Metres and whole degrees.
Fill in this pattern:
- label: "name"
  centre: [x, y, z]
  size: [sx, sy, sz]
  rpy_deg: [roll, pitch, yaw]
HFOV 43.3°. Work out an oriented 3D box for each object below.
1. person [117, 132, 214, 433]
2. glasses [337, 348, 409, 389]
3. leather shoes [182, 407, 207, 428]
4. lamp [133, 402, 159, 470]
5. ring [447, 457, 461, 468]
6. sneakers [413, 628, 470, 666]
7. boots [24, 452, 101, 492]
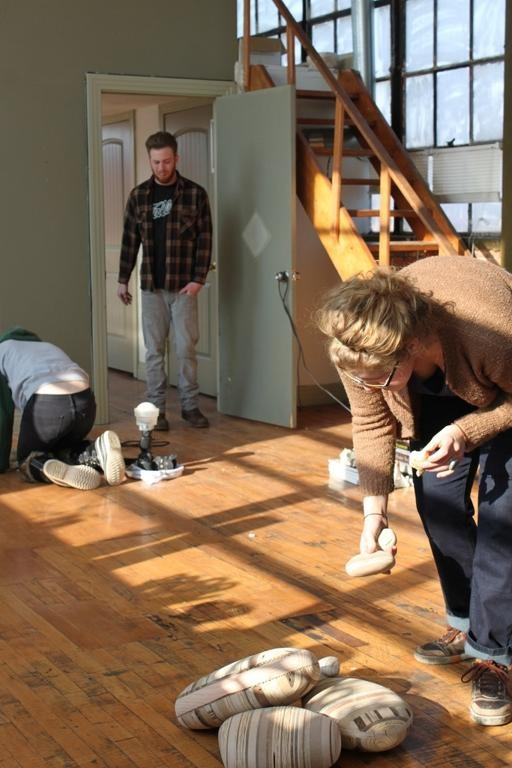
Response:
- label: "person"
  centre: [-0.743, -0.808, 5.367]
  size: [0.524, 2.315, 0.667]
  rpy_deg: [-4, 6, -41]
- label: "glasses"
  centre: [0.228, -0.017, 1.208]
  size: [0.081, 0.024, 0.080]
  rpy_deg: [4, 48, 25]
- label: "leather shoes"
  centre: [-0.502, 0.274, 5.403]
  size: [0.109, 0.106, 0.254]
  rpy_deg: [-7, 9, -37]
- label: "lamp"
  centre: [-0.717, 0.320, 4.209]
  size: [0.139, 0.406, 0.422]
  rpy_deg: [-1, 5, -10]
- label: "ring"
  centre: [0.416, 0.165, 1.376]
  size: [0.017, 0.010, 0.032]
  rpy_deg: [15, 17, 16]
- label: "sneakers"
  centre: [0.552, 0.767, 1.913]
  size: [0.219, 0.089, 0.080]
  rpy_deg: [3, -4, -19]
- label: "boots"
  centre: [-1.140, 0.513, 3.839]
  size: [0.541, 0.188, 0.206]
  rpy_deg: [7, 11, 1]
